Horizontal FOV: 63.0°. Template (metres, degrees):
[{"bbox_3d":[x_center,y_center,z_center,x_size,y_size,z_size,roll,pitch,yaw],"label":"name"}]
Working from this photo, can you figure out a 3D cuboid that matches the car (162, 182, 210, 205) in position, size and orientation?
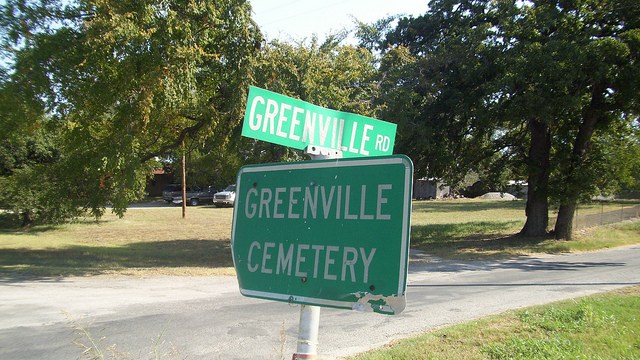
[{"bbox_3d":[-13.561,1.374,52.743,4.188,1.512,2.207,-1,1,-34],"label":"car"}]

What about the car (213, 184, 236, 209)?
[{"bbox_3d":[-8.687,1.574,47.072,2.262,1.800,3.666,-4,-8,12],"label":"car"}]
